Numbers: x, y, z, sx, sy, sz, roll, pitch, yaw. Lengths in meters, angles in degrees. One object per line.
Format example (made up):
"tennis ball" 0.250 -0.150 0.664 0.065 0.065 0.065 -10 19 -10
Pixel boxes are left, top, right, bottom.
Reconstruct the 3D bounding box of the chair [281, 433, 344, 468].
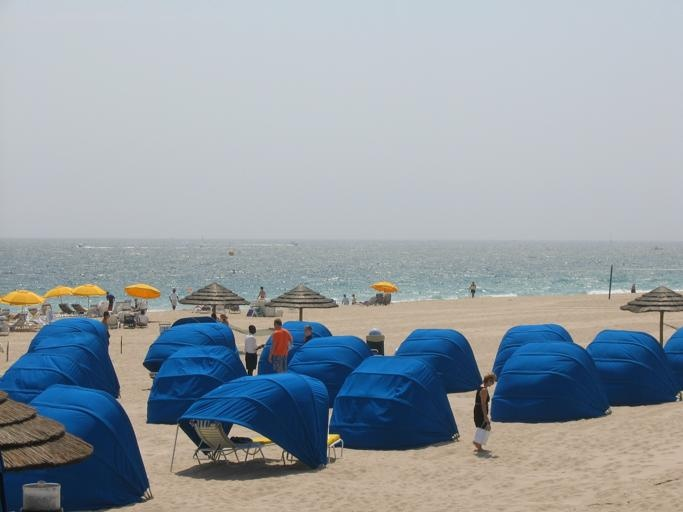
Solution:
"chair" -0.408 3.875 16.767 0.708 0.362 0.959 -1 -2 25

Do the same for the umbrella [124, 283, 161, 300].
"umbrella" -9.034 1.582 37.991 1.372 0.572 2.294 0 0 -15

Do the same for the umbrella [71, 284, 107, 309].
"umbrella" -15.973 2.641 52.848 2.486 1.370 2.395 1 1 20

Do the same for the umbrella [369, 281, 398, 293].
"umbrella" 3.114 2.401 64.636 1.465 0.466 1.275 6 -8 -16

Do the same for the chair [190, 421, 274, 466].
"chair" -2.032 3.543 16.143 0.807 0.727 1.672 -4 -9 43
